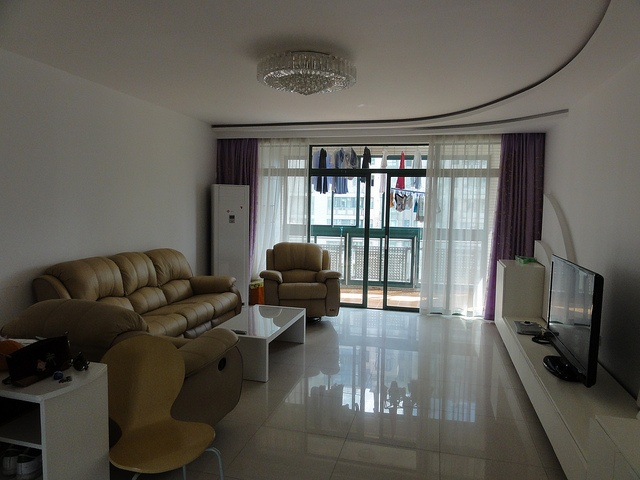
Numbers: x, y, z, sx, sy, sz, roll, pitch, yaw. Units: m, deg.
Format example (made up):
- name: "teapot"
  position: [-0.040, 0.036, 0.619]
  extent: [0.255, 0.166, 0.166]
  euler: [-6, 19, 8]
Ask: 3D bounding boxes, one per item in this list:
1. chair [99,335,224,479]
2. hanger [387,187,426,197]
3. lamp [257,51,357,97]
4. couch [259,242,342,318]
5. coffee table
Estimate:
- name: "chair"
  position: [-1.075, 0.998, 2.941]
  extent: [0.796, 0.628, 0.514]
  euler: [5, 10, 23]
- name: "hanger"
  position: [1.314, -0.708, 7.101]
  extent: [0.496, 0.124, 0.042]
  euler: [2, 9, 5]
- name: "lamp"
  position: [-0.123, -1.539, 4.307]
  extent: [0.887, 0.281, 0.511]
  euler: [-1, 10, -10]
- name: "couch"
  position: [-0.292, 0.617, 6.783]
  extent: [1.333, 1.201, 1.412]
  euler: [-3, -5, 32]
- name: "coffee table"
  position: [-0.671, 1.215, 4.911]
  extent: [0.522, 0.384, 0.985]
  euler: [1, 5, 13]
